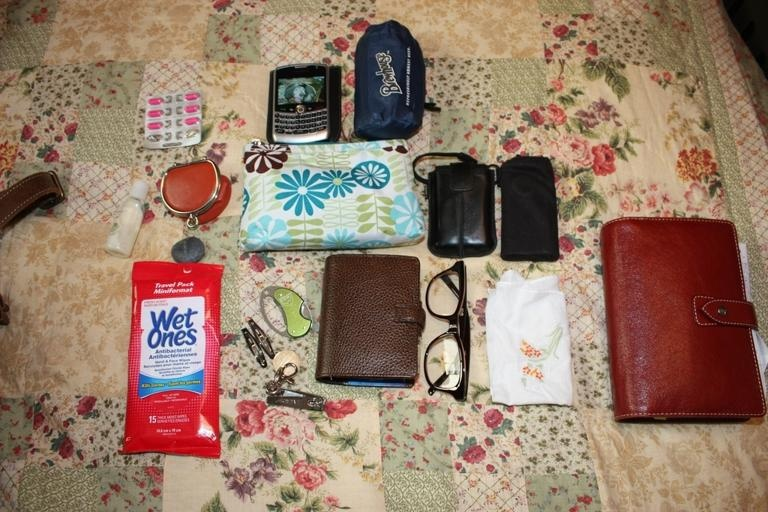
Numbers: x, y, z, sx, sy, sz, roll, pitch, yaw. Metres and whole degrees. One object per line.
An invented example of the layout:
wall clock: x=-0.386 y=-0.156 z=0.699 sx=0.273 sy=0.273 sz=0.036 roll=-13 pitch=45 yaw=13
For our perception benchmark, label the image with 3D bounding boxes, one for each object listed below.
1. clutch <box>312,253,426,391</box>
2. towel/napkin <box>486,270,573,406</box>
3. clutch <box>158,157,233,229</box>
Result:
clutch: x=-0.059 y=0.260 z=2.360 sx=0.411 sy=0.129 sz=0.487 roll=0 pitch=80 yaw=-2
towel/napkin: x=0.569 y=0.291 z=2.277 sx=0.350 sy=0.139 sz=0.455 roll=2 pitch=79 yaw=4
clutch: x=-0.790 y=-0.280 z=2.547 sx=0.242 sy=0.101 sz=0.302 roll=6 pitch=77 yaw=5
